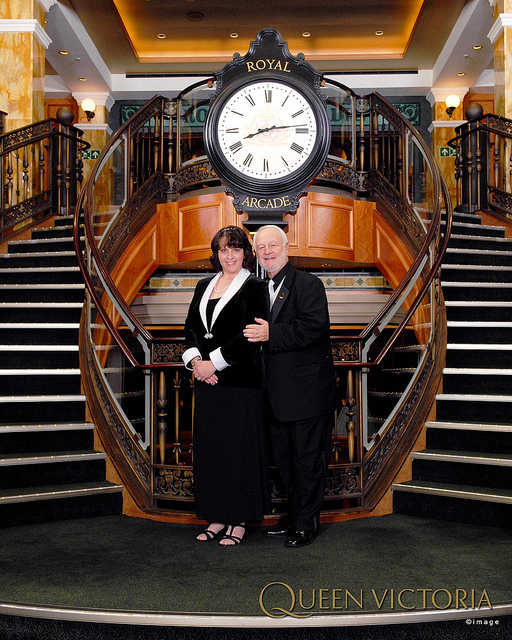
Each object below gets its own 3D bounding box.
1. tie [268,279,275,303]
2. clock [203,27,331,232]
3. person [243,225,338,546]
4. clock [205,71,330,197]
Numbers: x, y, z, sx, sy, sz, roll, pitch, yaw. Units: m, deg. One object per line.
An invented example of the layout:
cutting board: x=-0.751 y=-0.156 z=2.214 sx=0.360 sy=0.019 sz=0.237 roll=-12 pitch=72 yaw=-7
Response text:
tie: x=0.071 y=-0.144 z=2.855 sx=0.018 sy=0.080 sz=0.053 roll=-1 pitch=-1 yaw=43
clock: x=0.053 y=-0.887 z=3.019 sx=0.603 sy=1.085 sz=0.142 roll=0 pitch=-11 yaw=1
person: x=0.164 y=0.268 z=2.825 sx=0.388 sy=1.439 sz=0.451 roll=0 pitch=-3 yaw=10
clock: x=0.050 y=-0.898 z=2.988 sx=0.622 sy=0.717 sz=0.055 roll=2 pitch=-6 yaw=4
